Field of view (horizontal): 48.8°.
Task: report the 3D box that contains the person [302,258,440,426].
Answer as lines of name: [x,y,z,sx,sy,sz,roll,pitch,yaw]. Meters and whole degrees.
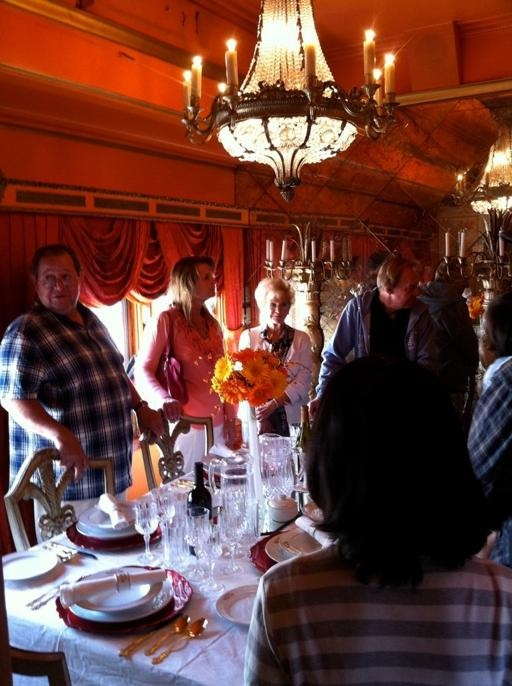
person: [0.704,0.188,3.244,0.734,1.270,0.710,-5,13,5]

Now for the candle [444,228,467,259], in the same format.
candle: [1.491,-0.738,4.231,0.150,0.217,0.294,-1,9,16]

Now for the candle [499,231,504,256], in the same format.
candle: [1.726,-0.693,3.968,0.035,0.174,0.107,0,9,23]

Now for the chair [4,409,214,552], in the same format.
chair: [-0.571,0.510,2.161,0.158,0.319,0.813,4,15,30]

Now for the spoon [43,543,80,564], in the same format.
spoon: [-0.586,0.630,1.688,0.077,0.018,0.047,5,2,39]

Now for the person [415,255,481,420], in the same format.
person: [1.457,-0.004,4.145,0.396,1.260,0.388,13,36,42]
